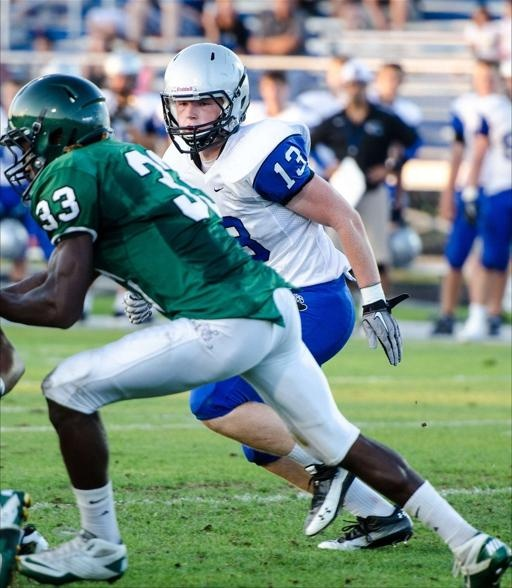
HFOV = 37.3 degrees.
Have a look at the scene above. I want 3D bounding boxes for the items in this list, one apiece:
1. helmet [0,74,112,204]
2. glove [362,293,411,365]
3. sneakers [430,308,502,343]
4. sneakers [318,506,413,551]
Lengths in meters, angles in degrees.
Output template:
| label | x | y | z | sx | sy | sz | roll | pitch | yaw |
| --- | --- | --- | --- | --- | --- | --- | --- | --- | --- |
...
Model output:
| label | x | y | z | sx | sy | sz | roll | pitch | yaw |
| --- | --- | --- | --- | --- | --- | --- | --- | --- | --- |
| helmet | -0.492 | -0.408 | 2.005 | 0.374 | 0.285 | 0.270 | -2 | -1 | 8 |
| glove | 0.409 | 0.103 | 2.208 | 0.092 | 0.193 | 0.137 | -9 | -31 | -23 |
| sneakers | 1.983 | 0.288 | 6.922 | 0.751 | 0.228 | 0.215 | 2 | -2 | -13 |
| sneakers | 0.280 | 0.681 | 2.213 | 0.330 | 0.096 | 0.101 | -7 | -5 | 2 |
